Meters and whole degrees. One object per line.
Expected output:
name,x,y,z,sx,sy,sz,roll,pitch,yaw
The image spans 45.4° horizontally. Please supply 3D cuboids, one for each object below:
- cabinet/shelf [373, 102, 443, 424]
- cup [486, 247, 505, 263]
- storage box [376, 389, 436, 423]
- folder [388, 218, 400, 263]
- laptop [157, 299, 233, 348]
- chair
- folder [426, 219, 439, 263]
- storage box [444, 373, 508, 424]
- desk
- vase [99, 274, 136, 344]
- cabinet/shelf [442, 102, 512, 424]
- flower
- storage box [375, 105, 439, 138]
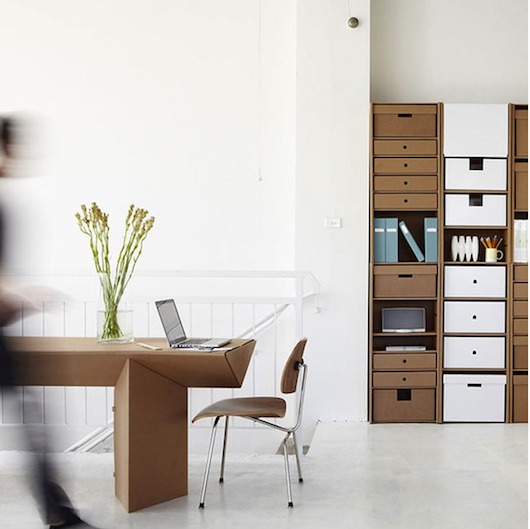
cabinet/shelf,0.914,0.022,4.085,0.391,2.022,0.274,0,-2,6
cup,1.505,-0.058,4.126,0.127,0.118,0.089,1,1,-2
storage box,0.883,0.896,3.970,0.274,0.245,0.161,0,2,6
folder,0.852,-0.213,4.158,0.080,0.299,0.284,0,24,12
laptop,-0.308,0.278,2.667,0.198,0.181,0.236,-1,2,4
chair,-0.049,0.658,2.727,0.426,0.710,0.437,1,-3,11
folder,1.096,-0.124,4.141,0.075,0.285,0.268,0,-12,11
storage box,1.333,0.837,4.069,0.286,0.249,0.316,0,-4,3
desk,-0.498,0.651,2.556,0.685,0.584,0.367,3,-11,1
vase,-0.632,0.186,2.689,0.195,0.302,0.211,1,-5,-12
cabinet/shelf,1.367,0.015,4.063,0.373,1.876,0.180,0,-1,19
flower,-0.649,0.041,2.725,0.301,0.583,0.346,4,0,20
storage box,0.892,-0.897,3.988,0.268,0.173,0.225,0,3,6
